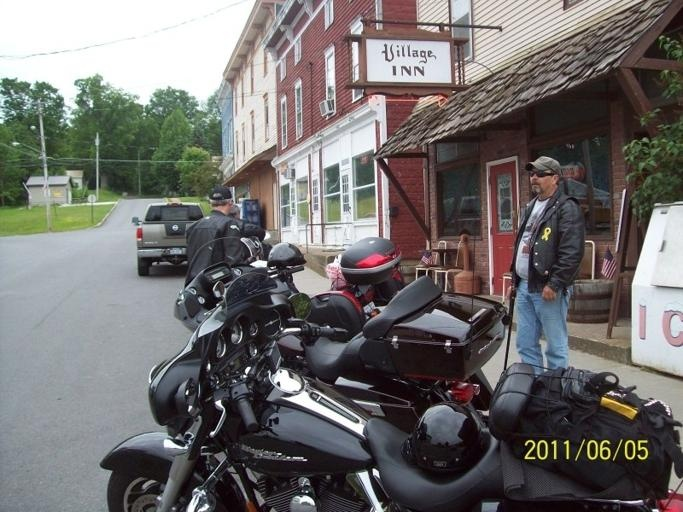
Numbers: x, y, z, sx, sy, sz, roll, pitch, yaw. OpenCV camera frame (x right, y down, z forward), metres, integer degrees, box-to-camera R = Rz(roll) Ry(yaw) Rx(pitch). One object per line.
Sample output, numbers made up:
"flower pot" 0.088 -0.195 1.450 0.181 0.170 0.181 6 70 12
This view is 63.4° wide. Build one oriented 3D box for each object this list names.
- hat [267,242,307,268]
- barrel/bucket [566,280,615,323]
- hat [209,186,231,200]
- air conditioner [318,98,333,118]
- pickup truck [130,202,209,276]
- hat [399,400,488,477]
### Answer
"hat" -0.528 -0.025 5.234 0.300 0.203 0.230 -6 12 -6
"barrel/bucket" 3.675 0.680 8.401 0.693 0.700 0.722 2 1 0
"hat" -1.412 -0.740 6.519 0.152 0.136 0.224 -6 30 5
"air conditioner" -0.527 -5.290 19.406 0.467 0.682 0.882 -2 5 -25
"pickup truck" -5.369 -0.249 16.556 2.124 1.705 3.643 -1 12 -8
"hat" 0.576 0.908 2.953 0.280 0.222 0.417 3 13 11
